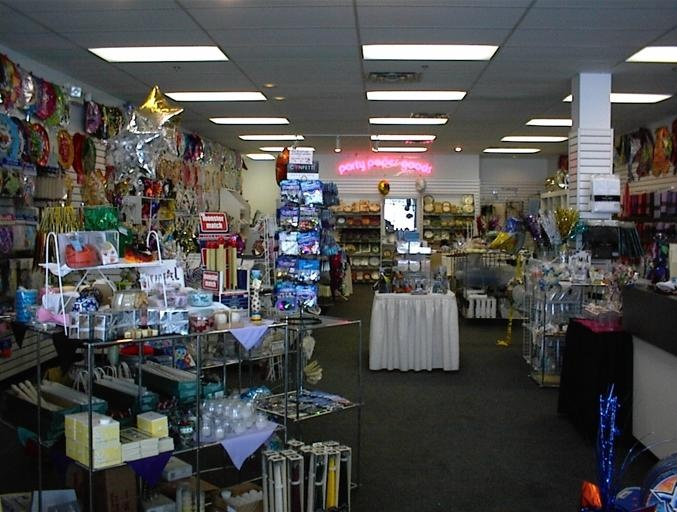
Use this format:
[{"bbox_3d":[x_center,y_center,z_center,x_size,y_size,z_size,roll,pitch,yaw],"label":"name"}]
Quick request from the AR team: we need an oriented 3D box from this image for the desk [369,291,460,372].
[{"bbox_3d":[1.011,0.933,7.568,1.047,0.879,1.104,1,3,0],"label":"desk"}]

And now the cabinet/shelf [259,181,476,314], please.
[{"bbox_3d":[0.177,-0.358,10.086,3.604,2.462,3.876,0,3,-1],"label":"cabinet/shelf"}]

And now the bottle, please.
[{"bbox_3d":[-0.771,1.136,3.881,0.501,0.226,0.292,-3,6,-28],"label":"bottle"}]

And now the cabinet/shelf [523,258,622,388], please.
[{"bbox_3d":[2.898,0.785,6.928,0.738,1.623,0.687,1,5,1],"label":"cabinet/shelf"}]

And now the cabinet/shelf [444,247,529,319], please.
[{"bbox_3d":[3.135,0.570,11.605,1.102,1.480,2.122,-1,0,9],"label":"cabinet/shelf"}]
